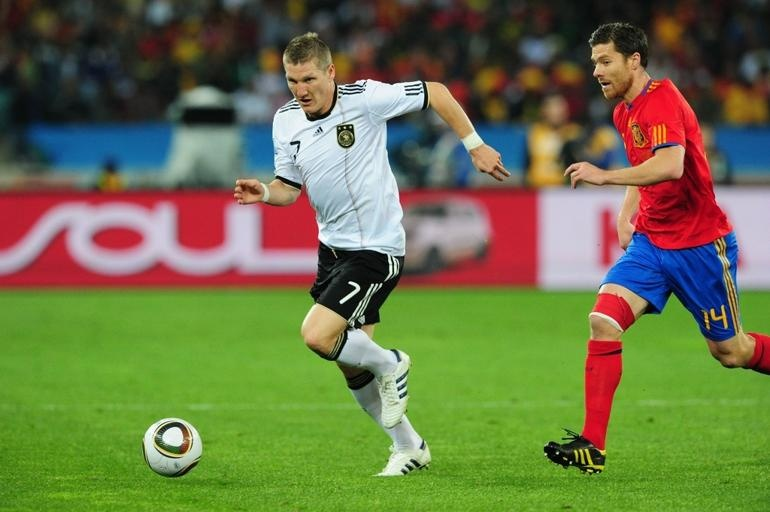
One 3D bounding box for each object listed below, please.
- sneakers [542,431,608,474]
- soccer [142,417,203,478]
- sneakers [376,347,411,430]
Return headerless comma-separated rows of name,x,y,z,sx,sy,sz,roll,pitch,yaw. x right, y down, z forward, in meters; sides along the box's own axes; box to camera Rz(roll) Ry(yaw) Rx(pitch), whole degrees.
sneakers,1.314,1.353,6.315,0.409,0.262,0.173,0,18,5
soccer,-1.494,1.346,6.378,0.355,0.350,0.286,-16,22,-36
sneakers,0.067,0.943,6.553,0.235,0.513,0.277,-3,18,-1
